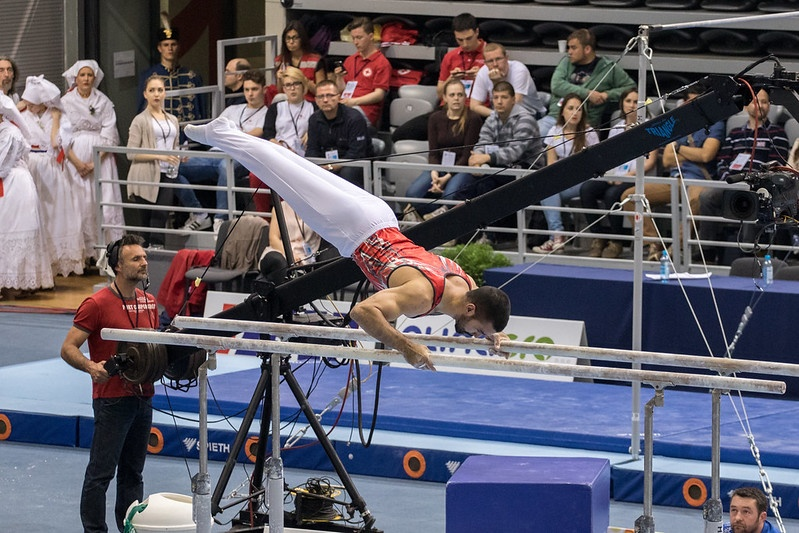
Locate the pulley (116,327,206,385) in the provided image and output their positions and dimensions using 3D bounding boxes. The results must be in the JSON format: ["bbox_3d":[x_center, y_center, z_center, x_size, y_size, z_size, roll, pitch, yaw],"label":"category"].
[{"bbox_3d":[-2.453,0.999,21.199,0.547,0.491,1.182,-4,-4,40],"label":"pulley"}]

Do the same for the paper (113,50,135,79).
[{"bbox_3d":[-4.051,-3.009,29.790,0.461,0.427,0.062,-10,18,-42],"label":"paper"}]

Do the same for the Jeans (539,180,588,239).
[{"bbox_3d":[1.990,-0.728,25.375,0.653,0.668,0.633,10,20,42],"label":"Jeans"}]

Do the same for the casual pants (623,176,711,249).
[{"bbox_3d":[3.274,-0.542,24.695,0.909,1.007,1.132,-1,7,2],"label":"casual pants"}]

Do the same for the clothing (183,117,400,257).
[{"bbox_3d":[-1.219,-0.911,23.632,2.526,0.573,0.698,32,-23,16],"label":"clothing"}]

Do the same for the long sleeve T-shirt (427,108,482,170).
[{"bbox_3d":[0.709,-1.629,25.827,0.777,0.807,0.478,5,14,30],"label":"long sleeve T-shirt"}]

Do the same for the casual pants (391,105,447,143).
[{"bbox_3d":[0.217,-1.912,26.880,0.507,0.583,0.559,1,-1,38],"label":"casual pants"}]

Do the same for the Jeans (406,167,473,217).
[{"bbox_3d":[0.528,-0.952,25.745,0.987,0.302,0.965,-4,-34,1],"label":"Jeans"}]

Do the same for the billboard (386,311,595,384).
[{"bbox_3d":[1.106,0.917,24.301,2.877,0.746,0.833,5,22,40],"label":"billboard"}]

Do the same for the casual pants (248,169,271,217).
[{"bbox_3d":[-1.808,-0.935,26.274,0.391,0.498,0.364,-5,12,-28],"label":"casual pants"}]

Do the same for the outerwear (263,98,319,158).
[{"bbox_3d":[-1.355,-1.828,26.535,0.881,0.747,0.452,4,11,7],"label":"outerwear"}]

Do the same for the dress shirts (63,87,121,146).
[{"bbox_3d":[-4.280,-2.105,28.308,0.828,0.824,0.349,-5,3,-21],"label":"dress shirts"}]

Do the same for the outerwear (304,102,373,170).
[{"bbox_3d":[-0.790,-1.700,26.003,0.874,0.631,0.527,1,11,32],"label":"outerwear"}]

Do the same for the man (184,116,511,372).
[{"bbox_3d":[-0.453,-0.312,20.134,3.354,0.641,1.615,34,16,20],"label":"man"}]

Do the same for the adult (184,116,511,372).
[{"bbox_3d":[-0.385,-0.405,20.608,0.815,1.787,3.989,-13,26,-23],"label":"adult"}]

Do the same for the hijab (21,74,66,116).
[{"bbox_3d":[-4.891,-2.390,27.840,0.413,0.336,0.524,19,2,-11],"label":"hijab"}]
